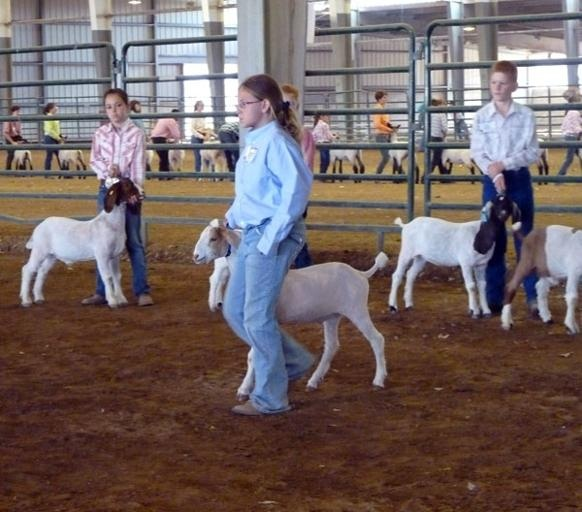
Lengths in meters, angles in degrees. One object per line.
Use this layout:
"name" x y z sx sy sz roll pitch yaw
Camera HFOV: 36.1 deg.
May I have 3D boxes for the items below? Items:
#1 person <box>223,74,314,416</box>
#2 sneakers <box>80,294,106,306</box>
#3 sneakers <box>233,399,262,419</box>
"person" -0.146 -0.052 5.319 0.588 2.019 0.449 2 13 15
"sneakers" -1.785 0.379 8.079 0.242 0.097 0.085 2 -4 -16
"sneakers" -0.262 0.926 5.444 0.158 0.085 0.062 6 52 7
